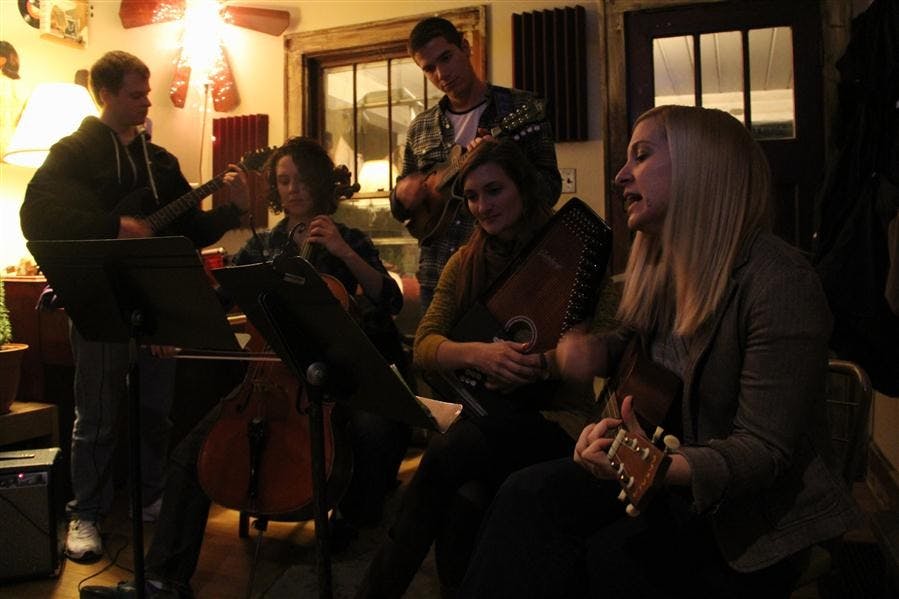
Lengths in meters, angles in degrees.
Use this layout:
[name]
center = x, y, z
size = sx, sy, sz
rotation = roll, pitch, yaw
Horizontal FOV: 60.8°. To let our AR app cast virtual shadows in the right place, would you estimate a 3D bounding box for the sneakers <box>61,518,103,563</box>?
[sneakers]
center = -1.724, 1.126, 3.618
size = 0.184, 0.153, 0.216
rotation = -5, 7, -8
